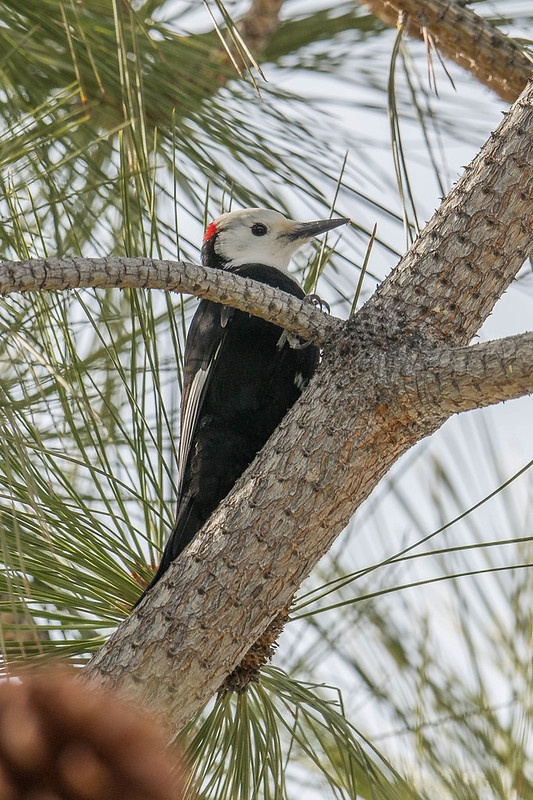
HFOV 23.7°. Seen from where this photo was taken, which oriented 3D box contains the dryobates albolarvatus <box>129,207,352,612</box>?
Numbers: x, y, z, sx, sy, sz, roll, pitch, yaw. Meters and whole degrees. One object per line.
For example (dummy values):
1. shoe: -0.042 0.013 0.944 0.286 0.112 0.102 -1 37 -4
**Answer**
1. dryobates albolarvatus: -0.055 -0.040 3.098 0.608 0.927 0.318 -25 -38 26
